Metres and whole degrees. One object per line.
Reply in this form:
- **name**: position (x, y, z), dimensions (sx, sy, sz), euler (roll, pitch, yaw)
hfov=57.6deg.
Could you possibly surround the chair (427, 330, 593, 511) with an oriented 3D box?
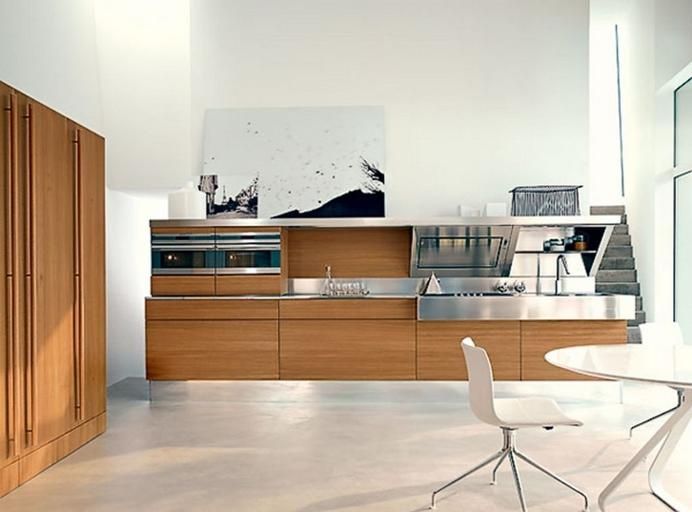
- **chair**: position (1.267, 1.155, 4.899), dimensions (1.280, 1.241, 1.155), euler (-3, -5, 5)

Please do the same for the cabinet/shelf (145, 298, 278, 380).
- **cabinet/shelf**: position (-1.348, 0.847, 6.314), dimensions (1.552, 0.885, 0.780), euler (0, -4, 1)

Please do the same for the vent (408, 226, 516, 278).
- **vent**: position (1.200, -0.058, 6.595), dimensions (0.752, 0.171, 0.650), euler (1, -20, 0)

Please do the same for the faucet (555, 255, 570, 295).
- **faucet**: position (2.266, 0.184, 6.620), dimensions (0.114, 0.399, 0.279), euler (7, 14, 33)
